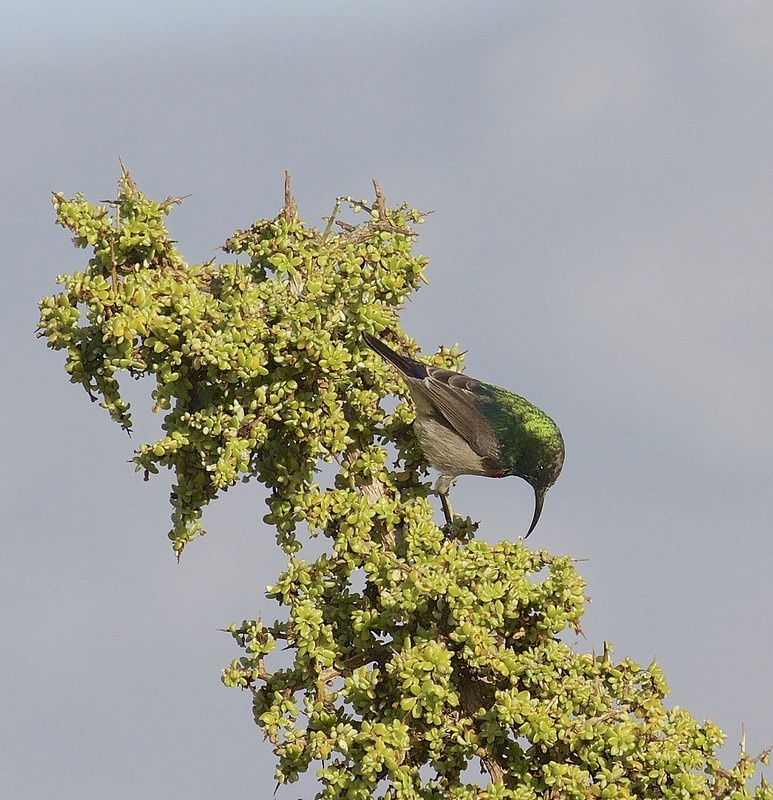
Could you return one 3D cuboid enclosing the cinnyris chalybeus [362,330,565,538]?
[{"bbox_3d":[0.332,0.167,11.486,1.262,0.499,0.799,30,-70,-7],"label":"cinnyris chalybeus"}]
